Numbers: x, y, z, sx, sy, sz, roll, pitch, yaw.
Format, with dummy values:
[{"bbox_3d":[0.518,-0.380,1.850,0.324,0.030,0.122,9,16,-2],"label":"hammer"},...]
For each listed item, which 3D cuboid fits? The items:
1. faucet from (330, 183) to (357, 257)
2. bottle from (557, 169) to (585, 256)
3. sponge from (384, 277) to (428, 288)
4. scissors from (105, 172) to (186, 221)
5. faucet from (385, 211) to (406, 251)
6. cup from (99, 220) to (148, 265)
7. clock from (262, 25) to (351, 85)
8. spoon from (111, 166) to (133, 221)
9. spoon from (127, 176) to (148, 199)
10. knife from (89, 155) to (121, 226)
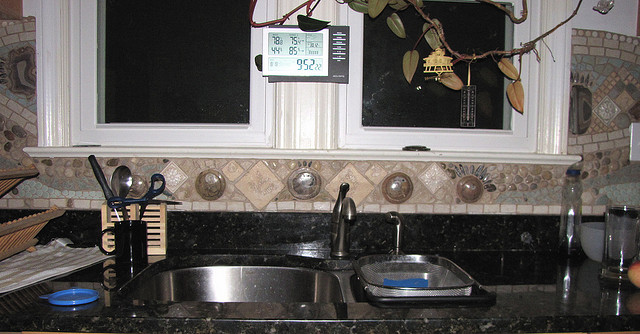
[{"bbox_3d":[0.126,0.309,3.253,0.164,0.427,0.136,-1,4,7],"label":"faucet"},{"bbox_3d":[1.507,0.275,3.360,0.135,0.517,0.114,0,5,23],"label":"bottle"},{"bbox_3d":[0.487,0.659,3.164,0.244,0.041,0.120,-1,3,9],"label":"sponge"},{"bbox_3d":[-1.054,0.190,3.268,0.328,0.285,0.018,10,-24,-24],"label":"scissors"},{"bbox_3d":[0.446,0.374,3.291,0.099,0.228,0.135,-1,4,11],"label":"faucet"},{"bbox_3d":[-1.124,0.430,3.175,0.256,0.242,0.115,-2,4,-19],"label":"cup"},{"bbox_3d":[-0.105,-0.683,3.364,0.414,0.215,0.051,1,0,1],"label":"clock"},{"bbox_3d":[-1.146,0.158,3.208,0.097,0.306,0.044,-2,-5,-13],"label":"spoon"},{"bbox_3d":[-1.100,0.122,3.348,0.143,0.123,0.051,1,-5,-4],"label":"spoon"},{"bbox_3d":[-1.262,0.134,3.274,0.063,0.442,0.047,-24,-3,3],"label":"knife"}]
